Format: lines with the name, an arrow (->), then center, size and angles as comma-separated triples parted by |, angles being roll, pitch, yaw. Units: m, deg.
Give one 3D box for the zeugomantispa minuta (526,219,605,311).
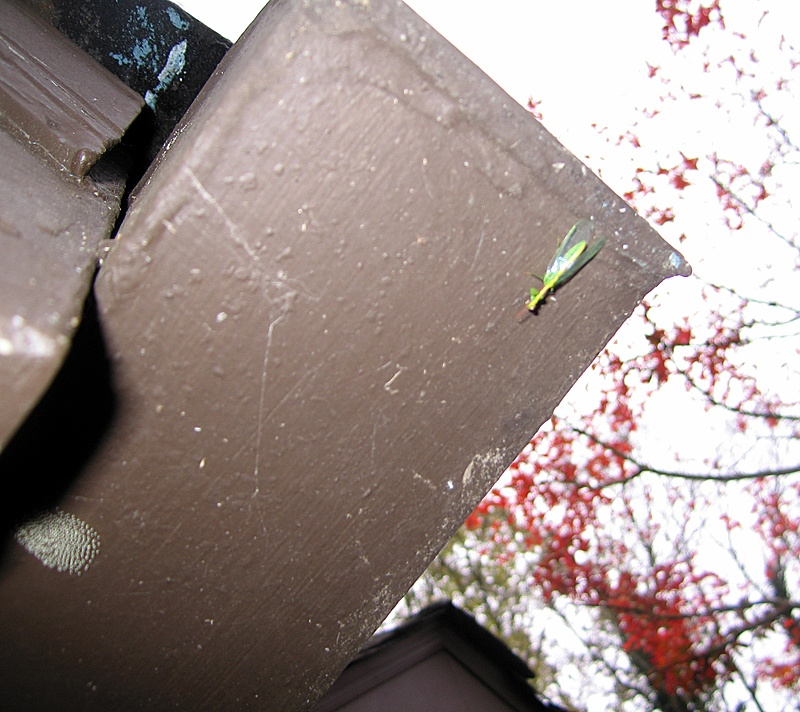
zeugomantispa minuta -> 0.510, -0.247, 2.622 | 0.118, 0.362, 0.124 | 53, -7, -12
